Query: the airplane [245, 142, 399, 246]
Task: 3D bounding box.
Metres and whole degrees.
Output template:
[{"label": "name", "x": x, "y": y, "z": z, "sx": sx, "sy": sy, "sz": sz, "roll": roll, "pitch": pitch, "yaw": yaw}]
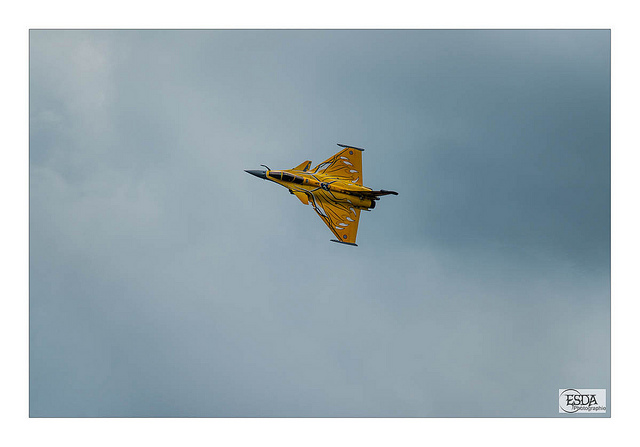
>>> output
[{"label": "airplane", "x": 0.034, "y": -1.587, "z": 39.926, "sx": 4.987, "sy": 1.670, "sz": 4.281, "roll": 14, "pitch": -57, "yaw": 14}]
